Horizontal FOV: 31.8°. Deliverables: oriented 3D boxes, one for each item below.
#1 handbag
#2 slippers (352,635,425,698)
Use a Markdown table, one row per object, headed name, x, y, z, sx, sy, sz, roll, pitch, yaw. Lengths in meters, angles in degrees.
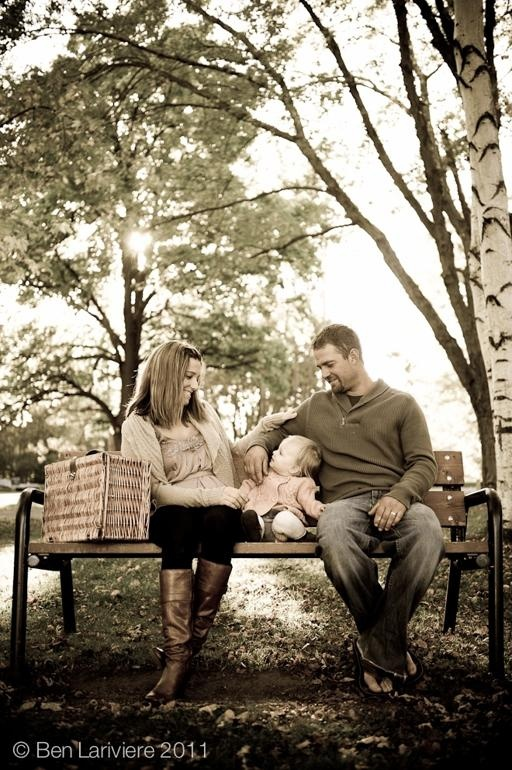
| name | x | y | z | sx | sy | sz | roll | pitch | yaw |
| --- | --- | --- | --- | --- | --- | --- | --- | --- | --- |
| handbag | -0.792 | 0.554 | 4.183 | 0.440 | 0.465 | 0.630 | 16 | -20 | -42 |
| slippers | 0.592 | 1.233 | 3.943 | 0.314 | 0.202 | 0.251 | -1 | 0 | -11 |
